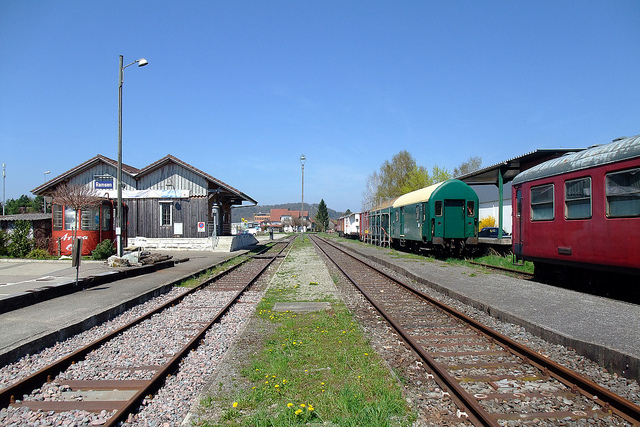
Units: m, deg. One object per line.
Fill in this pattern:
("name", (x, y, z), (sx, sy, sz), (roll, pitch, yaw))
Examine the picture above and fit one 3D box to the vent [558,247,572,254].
("vent", (7.603, 1.109, 13.411), (0.024, 0.223, 0.513), (-2, 7, -17))
